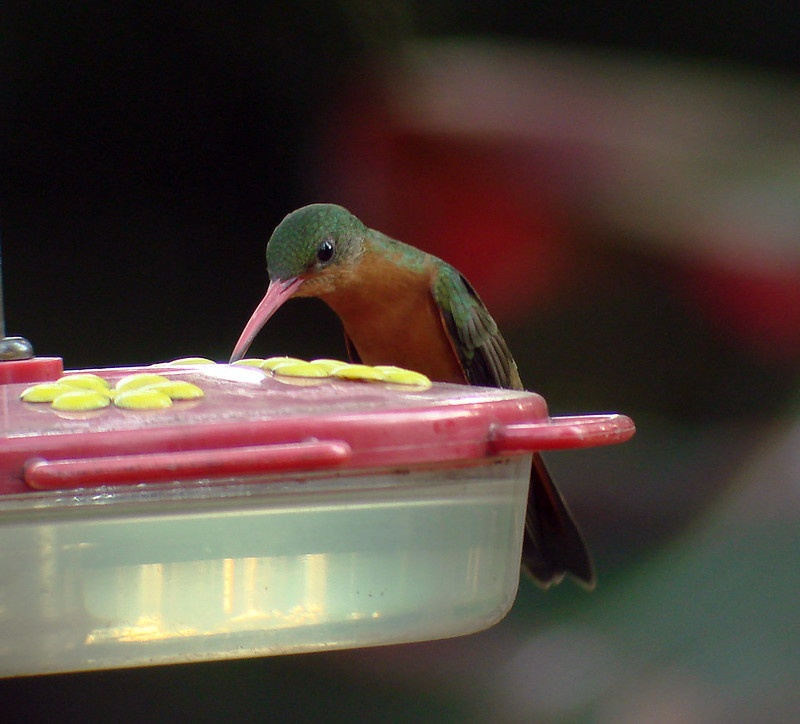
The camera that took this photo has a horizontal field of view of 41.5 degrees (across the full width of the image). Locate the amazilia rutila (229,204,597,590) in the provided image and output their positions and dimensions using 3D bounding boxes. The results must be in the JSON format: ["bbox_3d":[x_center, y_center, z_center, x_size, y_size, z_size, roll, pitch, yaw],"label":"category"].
[{"bbox_3d":[0.015,0.020,1.099,0.203,0.302,0.529,9,4,35],"label":"amazilia rutila"}]
